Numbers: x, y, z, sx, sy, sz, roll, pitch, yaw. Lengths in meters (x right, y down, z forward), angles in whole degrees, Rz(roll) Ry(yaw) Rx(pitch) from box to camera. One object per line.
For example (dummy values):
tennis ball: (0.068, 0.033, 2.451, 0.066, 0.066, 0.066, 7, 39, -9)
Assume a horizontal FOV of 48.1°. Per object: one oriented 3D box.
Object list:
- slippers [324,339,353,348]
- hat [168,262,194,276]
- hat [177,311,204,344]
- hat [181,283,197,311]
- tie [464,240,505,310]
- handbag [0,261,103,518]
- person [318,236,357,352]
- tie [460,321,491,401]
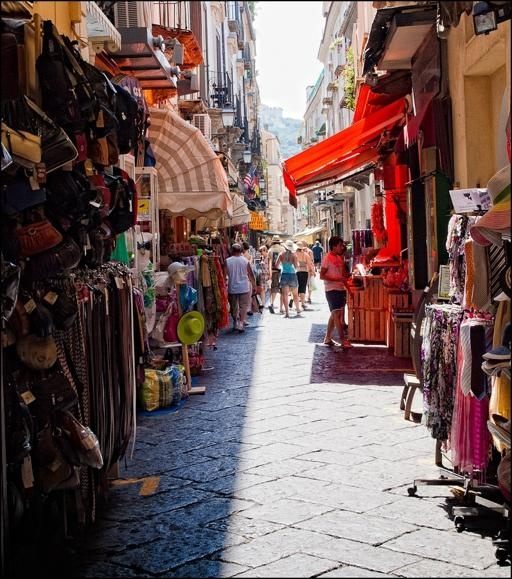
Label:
slippers: (1.345, 0.888, 9.403, 0.370, 0.129, 0.166, -5, -3, 20)
hat: (-0.867, -0.256, 6.592, 0.215, 0.102, 0.169, -8, 10, -13)
hat: (-0.739, 0.427, 6.467, 0.291, 0.351, 0.217, -1, 0, -11)
hat: (-0.783, 0.096, 6.662, 0.142, 0.303, 0.287, -1, 1, 9)
tie: (1.143, -0.087, 2.904, 0.099, 0.435, 0.272, 2, 3, 22)
handbag: (-0.849, 0.410, 2.417, 0.213, 1.062, 0.745, -1, 1, 14)
person: (1.280, 0.031, 9.287, 0.455, 1.452, 0.708, -1, 0, 9)
tie: (1.106, 0.365, 2.907, 0.174, 0.374, 0.084, -7, -13, 43)
